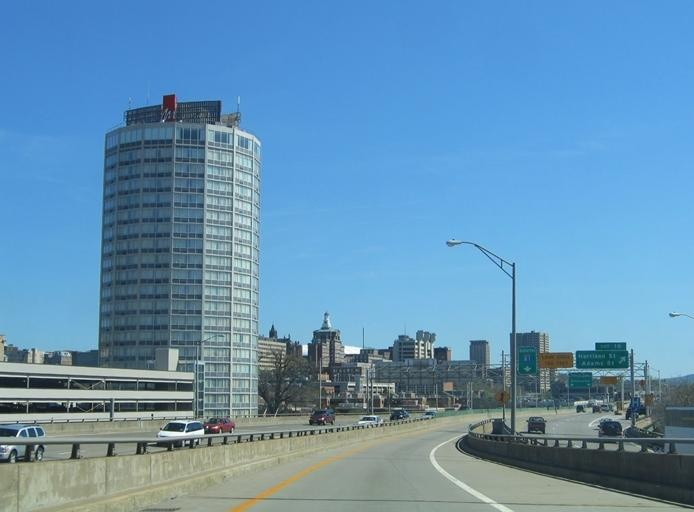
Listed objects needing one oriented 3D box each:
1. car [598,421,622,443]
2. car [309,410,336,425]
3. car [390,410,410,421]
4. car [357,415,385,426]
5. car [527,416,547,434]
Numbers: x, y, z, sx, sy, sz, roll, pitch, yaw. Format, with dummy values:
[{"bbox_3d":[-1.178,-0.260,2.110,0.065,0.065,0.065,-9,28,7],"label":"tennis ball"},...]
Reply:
[{"bbox_3d":[23.585,15.433,98.004,1.860,1.643,3.599,-1,-14,9],"label":"car"},{"bbox_3d":[-2.682,17.744,120.529,2.177,1.977,4.633,-1,-14,7],"label":"car"},{"bbox_3d":[6.076,18.876,129.881,1.019,0.933,2.503,-4,-18,14],"label":"car"},{"bbox_3d":[2.506,17.920,118.023,1.508,1.313,3.225,-5,-19,18],"label":"car"},{"bbox_3d":[18.999,17.069,109.850,1.519,1.463,3.425,0,0,8],"label":"car"}]
